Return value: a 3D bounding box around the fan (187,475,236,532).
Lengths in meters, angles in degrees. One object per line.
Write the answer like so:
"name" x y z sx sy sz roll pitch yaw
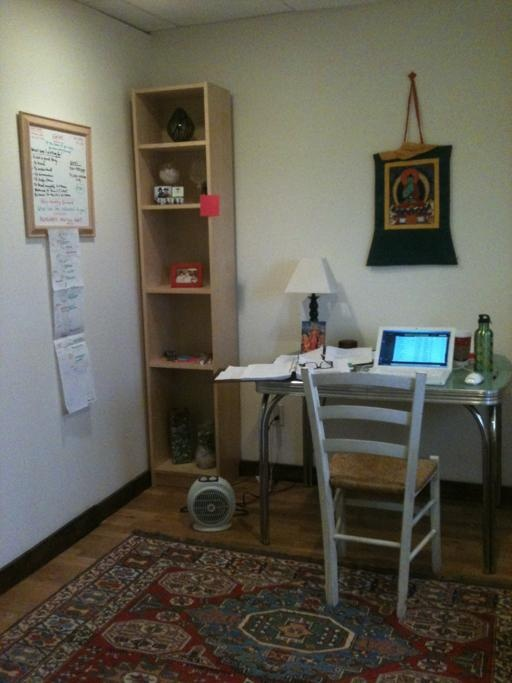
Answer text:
"fan" -0.197 0.732 2.571 0.238 0.248 0.153 -1 5 -6

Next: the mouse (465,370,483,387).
"mouse" 0.786 0.136 2.083 0.056 0.035 0.083 1 6 25

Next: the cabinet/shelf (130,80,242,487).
"cabinet/shelf" -0.361 -0.251 3.078 0.514 2.078 0.413 0 6 23

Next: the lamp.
"lamp" 0.271 -0.147 2.756 0.285 0.493 0.288 -1 6 -14
